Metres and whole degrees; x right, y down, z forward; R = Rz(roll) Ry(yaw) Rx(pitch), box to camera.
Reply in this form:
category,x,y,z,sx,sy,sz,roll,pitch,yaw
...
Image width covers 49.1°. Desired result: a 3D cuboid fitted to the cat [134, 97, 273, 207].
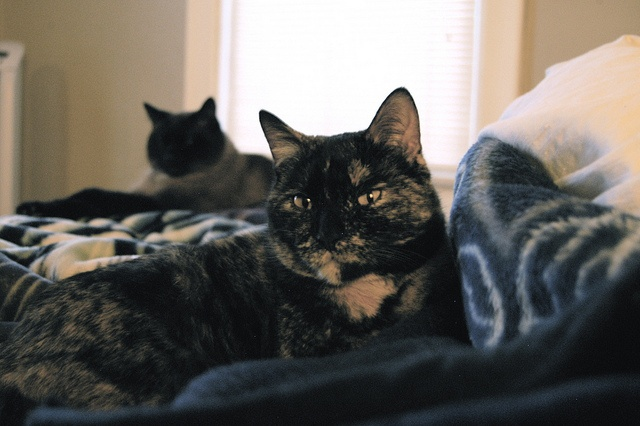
category,x,y,z,sx,sy,sz,roll,pitch,yaw
cat,-0.358,-0.153,2.415,0.349,0.449,0.581,-7,3,15
